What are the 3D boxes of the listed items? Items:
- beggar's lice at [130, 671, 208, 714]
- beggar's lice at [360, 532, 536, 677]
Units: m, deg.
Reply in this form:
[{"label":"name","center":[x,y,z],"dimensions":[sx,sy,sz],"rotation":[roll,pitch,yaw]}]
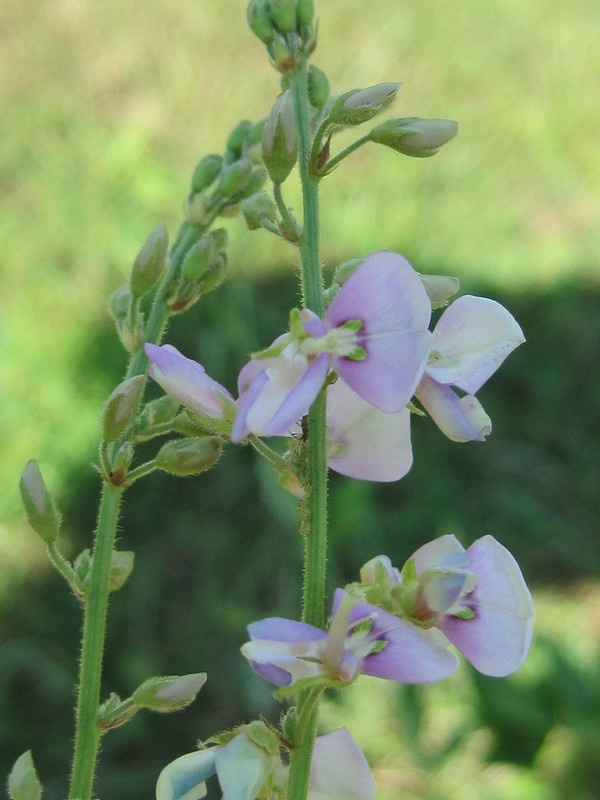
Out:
[{"label":"beggar's lice","center":[-0.189,0.412,1.367],"dimensions":[0.121,0.060,0.035],"rotation":[-18,38,6]},{"label":"beggar's lice","center":[0.211,0.245,1.198],"dimensions":[0.239,0.178,0.101],"rotation":[5,26,18]}]
